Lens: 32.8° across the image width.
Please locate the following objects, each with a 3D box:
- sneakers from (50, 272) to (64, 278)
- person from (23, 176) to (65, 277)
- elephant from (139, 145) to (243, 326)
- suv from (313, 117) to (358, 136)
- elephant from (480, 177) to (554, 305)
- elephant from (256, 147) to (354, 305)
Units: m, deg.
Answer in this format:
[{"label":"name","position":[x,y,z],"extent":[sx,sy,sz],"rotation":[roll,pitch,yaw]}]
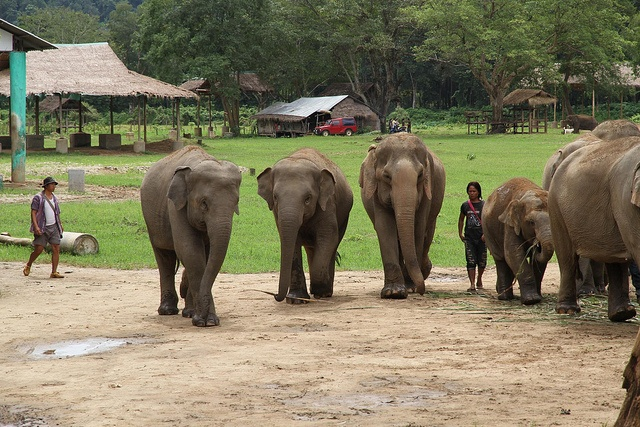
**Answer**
[{"label":"sneakers","position":[-6.418,1.480,26.377],"extent":[0.346,0.124,0.116],"rotation":[2,2,1]},{"label":"person","position":[-6.843,0.325,26.661],"extent":[0.933,2.420,0.972],"rotation":[-3,4,-14]},{"label":"elephant","position":[-2.813,0.432,24.636],"extent":[2.152,3.752,4.534],"rotation":[0,1,-24]},{"label":"suv","position":[0.998,-5.506,68.425],"extent":[2.340,0.851,1.188],"rotation":[0,1,-17]},{"label":"elephant","position":[4.774,0.606,25.440],"extent":[1.592,2.766,3.416],"rotation":[-3,2,-8]},{"label":"elephant","position":[-0.392,0.286,25.580],"extent":[2.130,3.451,4.411],"rotation":[-1,-2,13]}]
